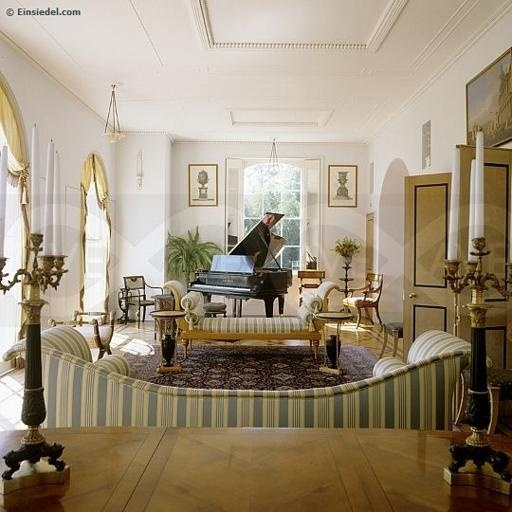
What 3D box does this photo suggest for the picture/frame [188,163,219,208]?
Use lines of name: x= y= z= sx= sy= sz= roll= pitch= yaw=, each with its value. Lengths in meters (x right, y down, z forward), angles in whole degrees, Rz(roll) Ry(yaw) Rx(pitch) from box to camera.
picture/frame: x=-1.098 y=-1.494 z=8.784 sx=0.844 sy=1.271 sz=0.043 roll=0 pitch=-2 yaw=-4

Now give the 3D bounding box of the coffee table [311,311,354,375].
coffee table: x=0.871 y=0.975 z=4.966 sx=0.561 sy=0.747 sz=0.573 roll=1 pitch=0 yaw=-6

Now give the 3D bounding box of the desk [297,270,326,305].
desk: x=1.104 y=0.705 z=8.189 sx=0.572 sy=0.788 sz=0.468 roll=-1 pitch=8 yaw=-7

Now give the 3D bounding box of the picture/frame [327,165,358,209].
picture/frame: x=1.806 y=-1.472 z=8.824 sx=0.858 sy=1.238 sz=0.043 roll=1 pitch=-3 yaw=-5
